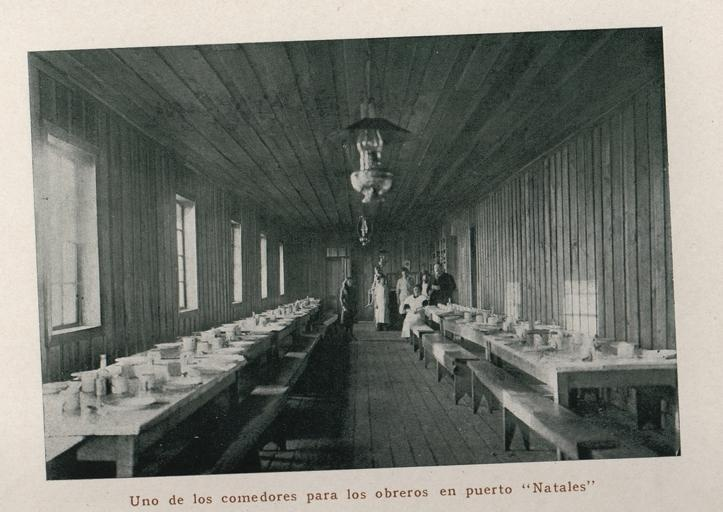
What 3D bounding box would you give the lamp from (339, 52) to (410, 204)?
[{"bbox_3d":[0.125,-1.079,6.054,0.571,1.128,1.374,-1,11,-1],"label":"lamp"}]
